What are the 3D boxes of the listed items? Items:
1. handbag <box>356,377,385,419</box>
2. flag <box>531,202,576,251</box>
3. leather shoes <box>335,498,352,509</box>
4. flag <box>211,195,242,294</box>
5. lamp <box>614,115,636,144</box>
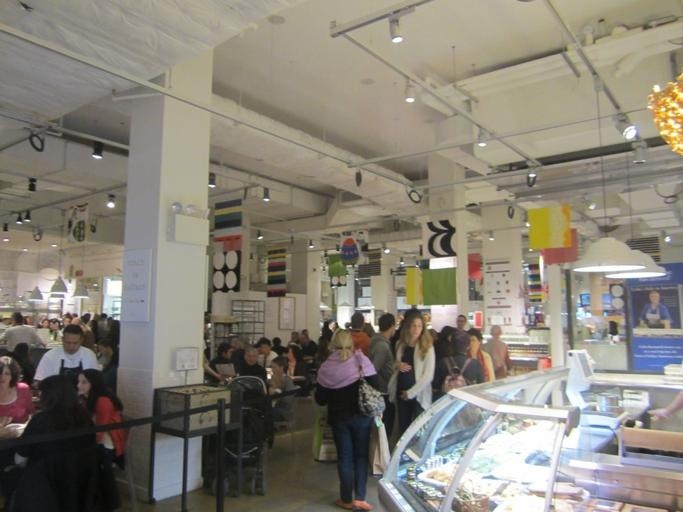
[{"bbox_3d":[0.300,1.447,5.388,0.255,0.393,0.150,-1,-5,-8],"label":"handbag"},{"bbox_3d":[3.497,-0.458,8.726,1.029,0.905,0.145,-3,-8,45],"label":"flag"},{"bbox_3d":[0.024,2.537,5.404,0.067,0.069,0.180,3,4,-41],"label":"leather shoes"},{"bbox_3d":[-2.187,-0.233,10.186,0.528,1.833,1.001,0,-5,-12],"label":"flag"},{"bbox_3d":[3.934,-1.777,7.350,0.180,0.315,0.309,-11,-34,18],"label":"lamp"}]
